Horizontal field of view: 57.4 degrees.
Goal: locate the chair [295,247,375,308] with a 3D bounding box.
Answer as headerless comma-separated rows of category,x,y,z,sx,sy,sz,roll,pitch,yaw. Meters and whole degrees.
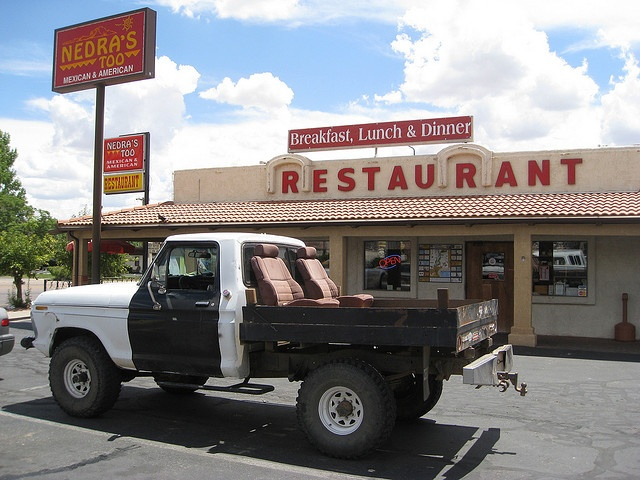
chair,0.253,0.671,8.864,1.126,0.999,0.717,0,1,21

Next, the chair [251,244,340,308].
chair,-0.274,0.527,8.270,1.157,0.961,0.801,-1,-2,19

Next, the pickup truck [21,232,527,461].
pickup truck,-0.654,1.346,8.807,7.176,2.541,2.956,2,-2,23
